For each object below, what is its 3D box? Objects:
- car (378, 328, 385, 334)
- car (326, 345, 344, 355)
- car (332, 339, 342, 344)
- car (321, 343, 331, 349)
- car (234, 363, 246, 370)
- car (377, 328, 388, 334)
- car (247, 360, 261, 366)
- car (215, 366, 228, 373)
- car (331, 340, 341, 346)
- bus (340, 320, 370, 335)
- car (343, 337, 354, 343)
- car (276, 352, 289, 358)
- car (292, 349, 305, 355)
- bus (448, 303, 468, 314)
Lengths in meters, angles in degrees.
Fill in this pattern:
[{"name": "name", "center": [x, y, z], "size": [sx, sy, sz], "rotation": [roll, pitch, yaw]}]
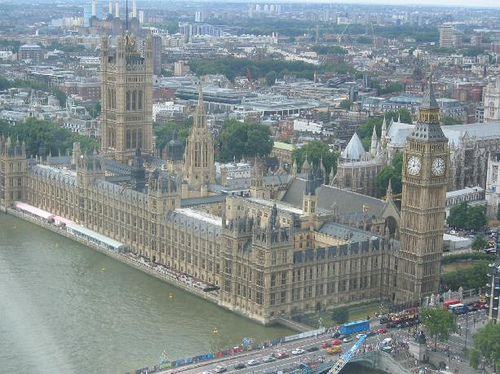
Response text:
[{"name": "car", "center": [29.961, 32.494, 319.306], "size": [1.720, 0.699, 1.255], "rotation": [-2, 10, -5]}, {"name": "car", "center": [18.971, 35.951, 311.510], "size": [2.618, 0.789, 1.871], "rotation": [-6, 11, -41]}, {"name": "car", "center": [19.667, 34.412, 314.644], "size": [2.206, 0.704, 2.262], "rotation": [0, 10, 1]}, {"name": "car", "center": [17.149, 35.216, 313.813], "size": [1.934, 0.740, 1.828], "rotation": [0, 10, 2]}, {"name": "car", "center": [-1.660, 38.995, 307.165], "size": [1.628, 0.656, 1.000], "rotation": [-1, 15, -10]}, {"name": "car", "center": [29.927, 32.527, 319.215], "size": [2.061, 0.732, 1.126], "rotation": [-5, 11, -25]}, {"name": "car", "center": [1.532, 38.199, 308.054], "size": [2.124, 0.636, 0.990], "rotation": [-12, 23, -27]}, {"name": "car", "center": [-5.758, 39.245, 305.982], "size": [2.519, 0.748, 1.316], "rotation": [-6, 11, -28]}, {"name": "car", "center": [19.375, 34.553, 313.949], "size": [1.617, 0.700, 0.957], "rotation": [-17, 23, -35]}, {"name": "bus", "center": [23.641, 31.728, 318.849], "size": [7.602, 2.286, 2.351], "rotation": [-8, 13, -29]}, {"name": "car", "center": [22.303, 34.151, 315.690], "size": [2.421, 0.646, 1.638], "rotation": [-1, 10, 0]}, {"name": "car", "center": [7.576, 36.880, 310.428], "size": [2.394, 0.858, 0.756], "rotation": [-2, 10, -6]}, {"name": "car", "center": [11.044, 36.268, 311.494], "size": [2.487, 0.833, 1.403], "rotation": [-3, 11, -15]}, {"name": "bus", "center": [47.516, 28.020, 326.750], "size": [4.925, 2.285, 2.026], "rotation": [-7, 12, -33]}]
